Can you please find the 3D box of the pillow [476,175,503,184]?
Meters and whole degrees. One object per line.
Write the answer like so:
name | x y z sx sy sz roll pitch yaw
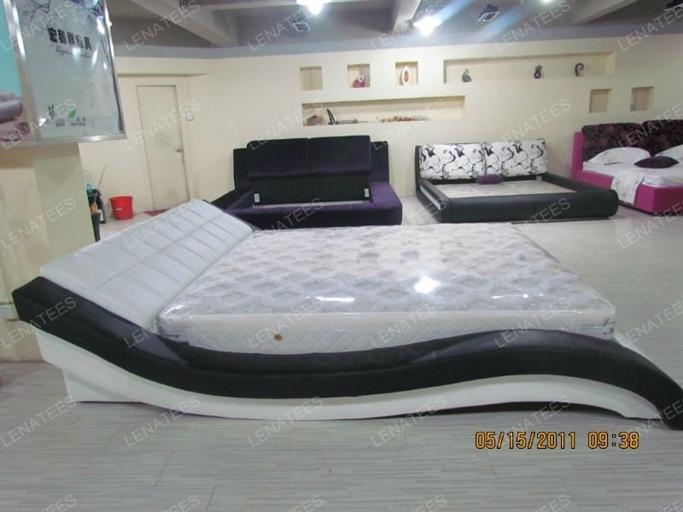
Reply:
pillow | 1.926 -0.983 6.692 0.275 0.100 0.135 0 35 5

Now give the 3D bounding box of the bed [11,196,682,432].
bed | -0.111 0.416 2.816 2.223 0.589 1.577 -3 19 1

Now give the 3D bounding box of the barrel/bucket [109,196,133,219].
barrel/bucket | -2.960 -0.668 7.078 0.336 0.250 0.269 -3 21 -13

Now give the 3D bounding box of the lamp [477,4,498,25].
lamp | 1.899 -3.110 6.617 0.237 0.086 0.236 -36 -6 -38
